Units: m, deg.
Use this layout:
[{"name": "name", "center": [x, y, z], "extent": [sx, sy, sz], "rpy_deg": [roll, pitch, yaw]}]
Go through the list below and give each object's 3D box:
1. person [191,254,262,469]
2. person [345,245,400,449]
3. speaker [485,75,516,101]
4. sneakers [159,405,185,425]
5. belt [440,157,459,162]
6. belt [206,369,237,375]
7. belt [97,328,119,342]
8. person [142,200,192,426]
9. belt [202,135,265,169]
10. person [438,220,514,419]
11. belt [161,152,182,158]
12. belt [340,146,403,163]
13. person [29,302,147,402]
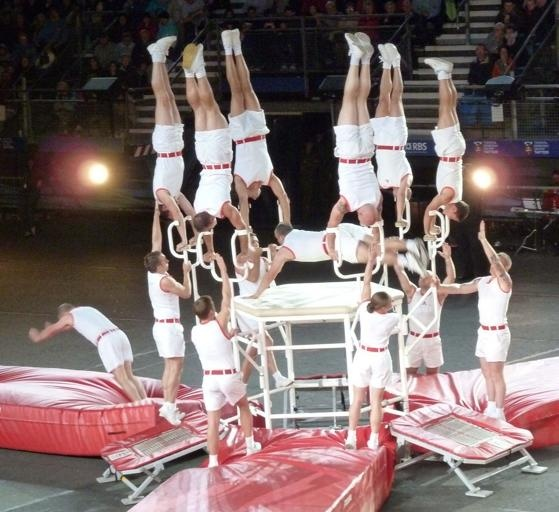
[{"name": "person", "center": [-0.506, 0.953, 7.684], "extent": [0.579, 1.883, 0.997], "rpy_deg": [-4, 8, -6]}, {"name": "person", "center": [0.854, 0.928, 7.775], "extent": [0.472, 1.669, 0.649], "rpy_deg": [0, 8, 20]}, {"name": "speaker", "center": [3.711, -2.797, 13.872], "extent": [0.503, 0.425, 0.277], "rpy_deg": [0, 8, 18]}, {"name": "sneakers", "center": [-1.073, 1.559, 8.210], "extent": [0.243, 0.201, 0.160], "rpy_deg": [-3, 7, -7]}, {"name": "belt", "center": [1.798, -1.015, 8.706], "extent": [0.209, 0.071, 0.134], "rpy_deg": [0, 7, 12]}, {"name": "belt", "center": [-0.546, 1.067, 7.661], "extent": [0.301, 0.065, 0.105], "rpy_deg": [-2, 7, 0]}, {"name": "belt", "center": [-1.871, 0.837, 8.924], "extent": [0.038, 0.146, 0.156], "rpy_deg": [50, 40, 13]}, {"name": "person", "center": [-1.144, 0.517, 8.660], "extent": [0.438, 2.128, 1.098], "rpy_deg": [-4, 8, -9]}, {"name": "belt", "center": [-0.491, -1.089, 8.451], "extent": [0.573, 0.167, 0.367], "rpy_deg": [-4, 18, -3]}, {"name": "person", "center": [2.127, 0.610, 8.447], "extent": [0.511, 1.999, 0.710], "rpy_deg": [-3, 8, 1]}, {"name": "belt", "center": [-1.142, -1.044, 8.575], "extent": [0.182, 0.056, 0.055], "rpy_deg": [-4, 7, -15]}, {"name": "belt", "center": [0.937, -1.031, 8.382], "extent": [0.695, 0.180, 0.244], "rpy_deg": [-7, 8, -38]}, {"name": "person", "center": [-2.034, 1.069, 9.009], "extent": [1.141, 1.040, 0.680], "rpy_deg": [-2, 8, -1]}]
